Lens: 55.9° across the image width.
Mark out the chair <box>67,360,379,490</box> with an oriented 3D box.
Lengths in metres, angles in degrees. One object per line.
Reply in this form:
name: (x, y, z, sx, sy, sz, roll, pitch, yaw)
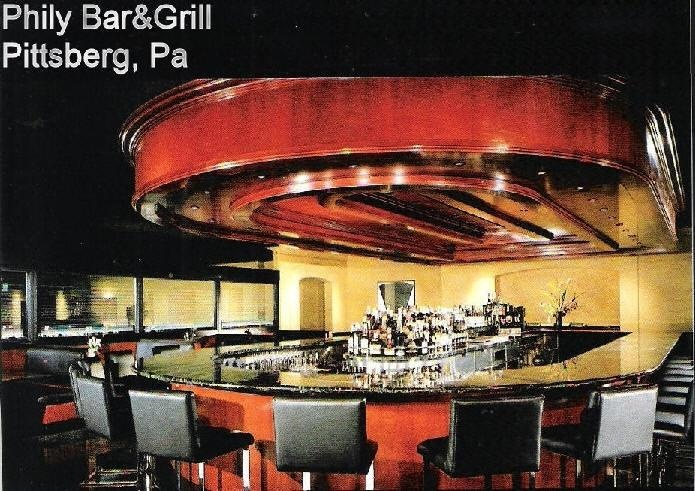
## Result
chair: (-0.719, 1.622, 5.297, 1.826, 0.921, 0.833, -4, -7, 22)
